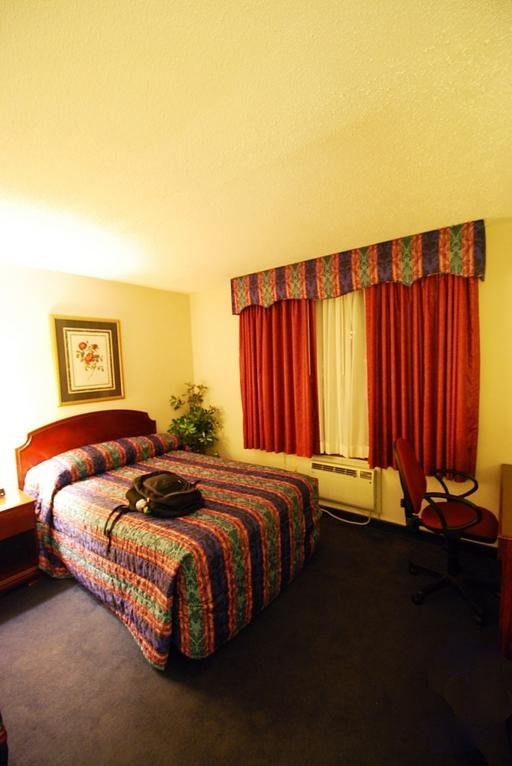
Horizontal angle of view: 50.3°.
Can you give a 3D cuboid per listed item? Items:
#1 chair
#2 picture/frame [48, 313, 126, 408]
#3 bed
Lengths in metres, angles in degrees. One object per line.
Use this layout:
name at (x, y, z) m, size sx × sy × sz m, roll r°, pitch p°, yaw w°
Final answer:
chair at (1.123, 0.774, 3.371) m, size 0.764 × 1.217 × 0.802 m, roll -1°, pitch 5°, yaw 24°
picture/frame at (-1.309, -0.176, 4.146) m, size 0.047 × 0.740 × 0.604 m, roll 6°, pitch 15°, yaw 36°
bed at (-0.545, 0.755, 3.465) m, size 1.743 × 0.874 × 1.401 m, roll 12°, pitch 17°, yaw 42°
